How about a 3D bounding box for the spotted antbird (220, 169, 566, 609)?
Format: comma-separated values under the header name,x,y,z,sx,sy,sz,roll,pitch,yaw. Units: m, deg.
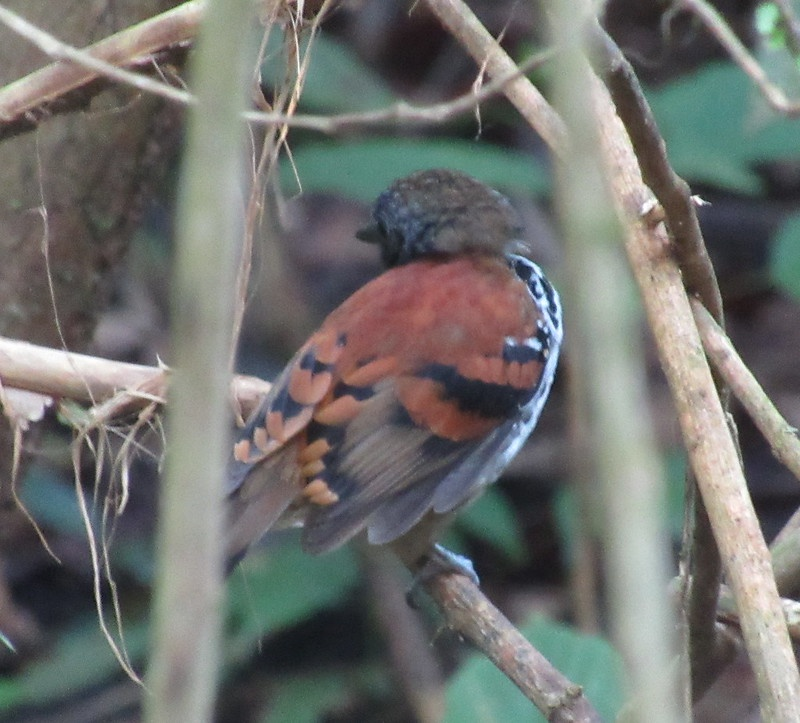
name,x,y,z,sx,sy,sz,roll,pitch,yaw
spotted antbird,-0.112,0.049,3.831,0.679,1.284,1.181,4,4,44
